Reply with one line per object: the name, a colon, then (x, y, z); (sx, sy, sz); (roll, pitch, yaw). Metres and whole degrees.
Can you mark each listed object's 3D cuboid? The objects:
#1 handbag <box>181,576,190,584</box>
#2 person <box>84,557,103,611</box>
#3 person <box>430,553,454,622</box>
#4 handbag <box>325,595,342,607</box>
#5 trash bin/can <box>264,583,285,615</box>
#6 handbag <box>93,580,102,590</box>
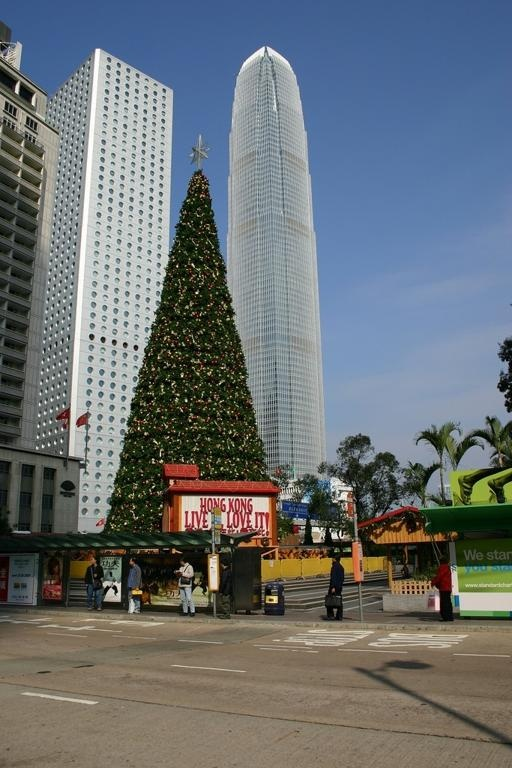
handbag: (-2.215, 6.160, 20.916); (0.362, 0.222, 0.228); (-6, -13, 7)
person: (-5.724, 7.185, 23.959); (0.621, 1.717, 1.448); (-1, -14, -13)
person: (4.995, 5.552, 18.134); (0.477, 1.615, 1.168); (-8, -14, 15)
handbag: (2.171, 6.157, 19.012); (0.371, 0.363, 0.143); (-2, -26, 10)
trash bin/can: (0.530, 6.840, 21.305); (0.632, 0.955, 1.110); (-4, -13, -1)
handbag: (-5.588, 7.144, 23.765); (0.284, 0.337, 0.456); (0, -14, -15)
